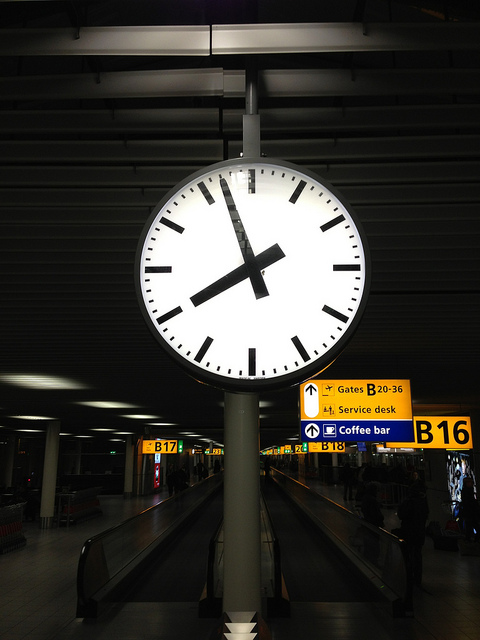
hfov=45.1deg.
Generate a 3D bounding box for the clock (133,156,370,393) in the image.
[{"bbox_3d":[0.028,-0.116,1.499,0.589,0.735,0.084,0,-34,1],"label":"clock"}]

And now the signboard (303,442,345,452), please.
[{"bbox_3d":[1.777,2.652,12.236,0.616,0.211,3.129,-5,-14,11],"label":"signboard"}]
